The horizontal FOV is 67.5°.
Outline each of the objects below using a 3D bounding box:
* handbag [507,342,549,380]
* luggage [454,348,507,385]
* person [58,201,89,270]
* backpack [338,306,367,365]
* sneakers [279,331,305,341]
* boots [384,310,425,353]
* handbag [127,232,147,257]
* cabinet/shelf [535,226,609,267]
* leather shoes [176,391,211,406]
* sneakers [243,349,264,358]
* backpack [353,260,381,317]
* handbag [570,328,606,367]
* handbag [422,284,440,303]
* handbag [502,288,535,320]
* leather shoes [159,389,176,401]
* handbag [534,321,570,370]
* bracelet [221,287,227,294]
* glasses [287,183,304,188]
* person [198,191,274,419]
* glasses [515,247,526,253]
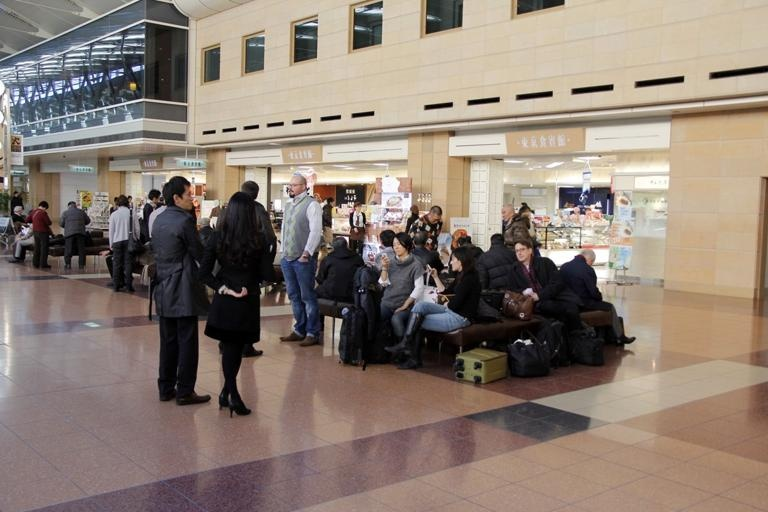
[{"bbox_3d":[1.878,1.339,7.423,0.607,0.482,0.374,3,-7,-28],"label":"handbag"},{"bbox_3d":[1.228,1.402,7.349,0.615,0.242,0.458,-2,4,-42],"label":"luggage"},{"bbox_3d":[-8.836,-0.539,16.387,0.675,1.748,0.942,-2,9,-26],"label":"person"},{"bbox_3d":[-0.389,1.054,7.653,0.387,0.785,0.176,5,9,22],"label":"backpack"},{"bbox_3d":[-1.428,1.228,8.898,0.455,0.151,0.129,4,-1,-7],"label":"sneakers"},{"bbox_3d":[0.295,1.003,7.729,0.499,0.564,0.237,2,8,0],"label":"boots"},{"bbox_3d":[-5.572,-0.233,13.027,0.546,0.456,0.355,1,0,43],"label":"handbag"},{"bbox_3d":[6.042,-0.504,19.001,3.062,1.146,1.462,-1,3,-17],"label":"cabinet/shelf"},{"bbox_3d":[-2.076,1.547,6.303,0.384,0.121,0.126,-2,4,-22],"label":"leather shoes"},{"bbox_3d":[-1.795,1.339,7.992,0.095,0.102,0.283,3,7,40],"label":"sneakers"},{"bbox_3d":[-0.211,0.476,7.660,0.337,0.680,0.246,-4,10,-35],"label":"backpack"},{"bbox_3d":[2.861,1.262,8.073,0.477,0.453,0.304,4,8,16],"label":"handbag"},{"bbox_3d":[0.633,0.513,7.852,0.189,0.220,0.342,2,8,4],"label":"handbag"},{"bbox_3d":[1.889,0.650,8.223,0.386,0.410,0.677,3,-3,-38],"label":"handbag"},{"bbox_3d":[-2.391,1.522,6.352,0.089,0.081,0.216,0,6,9],"label":"leather shoes"},{"bbox_3d":[2.275,1.217,7.754,0.484,0.694,0.681,-5,0,6],"label":"handbag"},{"bbox_3d":[-1.609,0.341,5.771,0.079,0.077,0.013,3,8,11],"label":"bracelet"},{"bbox_3d":[-1.267,-1.019,8.412,0.228,0.047,0.190,1,7,-5],"label":"glasses"},{"bbox_3d":[-1.481,0.508,5.848,0.684,2.298,0.258,-1,9,-15],"label":"person"},{"bbox_3d":[2.013,-0.088,8.482,0.080,0.048,0.103,-3,-9,41],"label":"glasses"}]
